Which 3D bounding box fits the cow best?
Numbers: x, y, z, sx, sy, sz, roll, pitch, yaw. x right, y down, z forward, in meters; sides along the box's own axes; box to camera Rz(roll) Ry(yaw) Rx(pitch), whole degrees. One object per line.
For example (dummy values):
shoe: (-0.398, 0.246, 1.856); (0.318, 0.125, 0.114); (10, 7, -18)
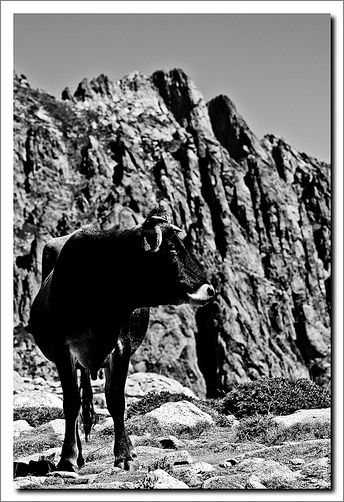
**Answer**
cow: (-1.141, 1.307, 16.615); (1.351, 3.536, 4.348); (-3, -4, -30)
